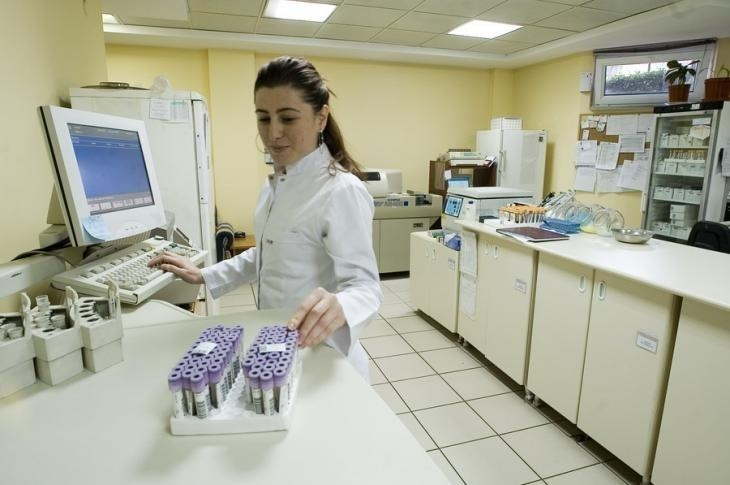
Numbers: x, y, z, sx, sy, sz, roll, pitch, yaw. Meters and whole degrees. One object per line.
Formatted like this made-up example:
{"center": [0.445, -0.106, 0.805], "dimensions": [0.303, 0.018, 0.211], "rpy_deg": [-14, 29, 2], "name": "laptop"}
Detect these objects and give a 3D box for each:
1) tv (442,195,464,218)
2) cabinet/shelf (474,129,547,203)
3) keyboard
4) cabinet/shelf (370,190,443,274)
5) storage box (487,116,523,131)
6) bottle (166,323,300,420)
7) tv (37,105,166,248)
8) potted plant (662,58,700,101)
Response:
{"center": [0.759, -0.310, 3.863], "dimensions": [0.044, 0.171, 0.194], "rpy_deg": [10, 8, -38], "name": "tv"}
{"center": [2.202, -1.131, 6.506], "dimensions": [0.896, 1.077, 0.786], "rpy_deg": [-18, 27, -26], "name": "cabinet/shelf"}
{"center": [-1.017, 0.131, 1.901], "dimensions": [0.285, 0.082, 0.423], "rpy_deg": [15, 22, 7], "name": "keyboard"}
{"center": [0.434, -0.102, 4.888], "dimensions": [0.937, 0.857, 0.497], "rpy_deg": [-4, 9, -16], "name": "cabinet/shelf"}
{"center": [1.951, -1.655, 6.247], "dimensions": [0.375, 0.146, 0.209], "rpy_deg": [5, 16, 20], "name": "storage box"}
{"center": [-0.401, 0.396, 1.395], "dimensions": [0.282, 0.100, 0.275], "rpy_deg": [1, 28, 0], "name": "bottle"}
{"center": [-1.142, -0.292, 2.004], "dimensions": [0.245, 0.544, 0.578], "rpy_deg": [10, 12, 6], "name": "tv"}
{"center": [3.416, -1.764, 4.878], "dimensions": [0.288, 0.471, 0.350], "rpy_deg": [7, 3, 31], "name": "potted plant"}
